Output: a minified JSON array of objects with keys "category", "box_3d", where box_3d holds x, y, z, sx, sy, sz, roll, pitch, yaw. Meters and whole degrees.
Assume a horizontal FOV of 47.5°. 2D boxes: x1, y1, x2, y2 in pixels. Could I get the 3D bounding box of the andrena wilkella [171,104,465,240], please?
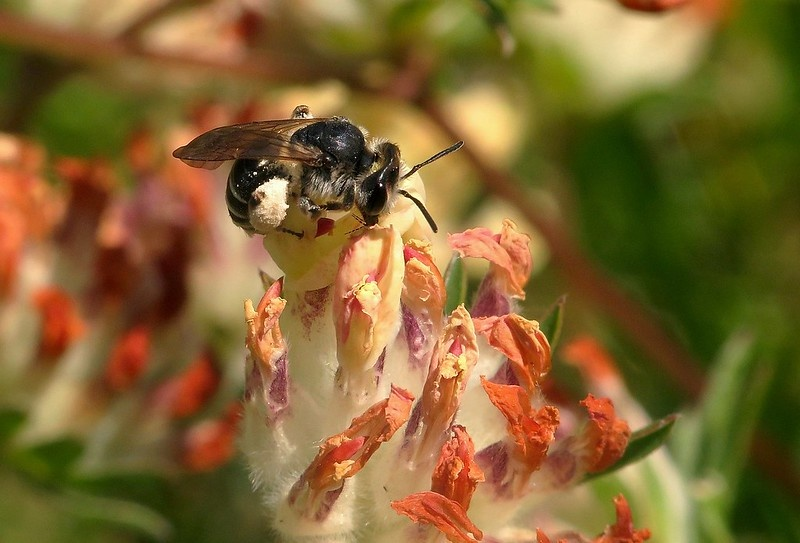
[{"category":"andrena wilkella","box_3d":[-0.200,-0.208,1.882,0.388,0.149,0.308,10,22,-1]}]
